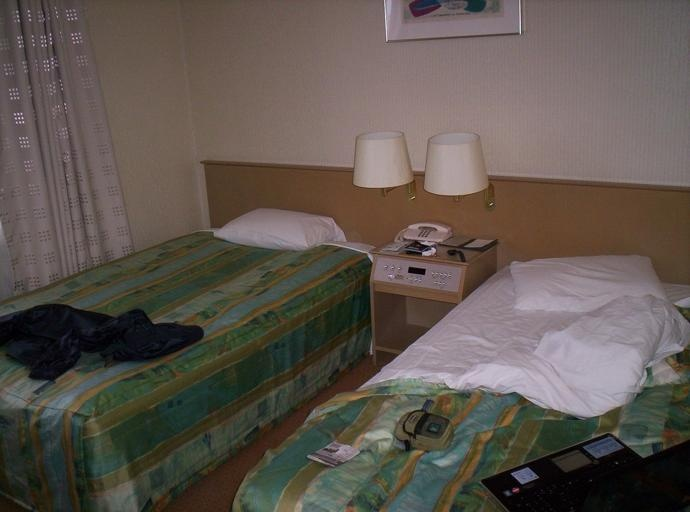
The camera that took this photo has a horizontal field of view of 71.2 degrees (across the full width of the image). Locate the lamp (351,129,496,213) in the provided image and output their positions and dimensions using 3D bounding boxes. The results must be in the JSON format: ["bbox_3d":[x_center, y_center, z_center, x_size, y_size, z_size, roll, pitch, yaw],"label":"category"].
[{"bbox_3d":[0.501,-0.599,2.973,0.805,0.443,0.459,4,22,20],"label":"lamp"}]

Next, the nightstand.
[{"bbox_3d":[0.580,0.358,3.334,0.649,0.775,0.597,7,11,33],"label":"nightstand"}]
